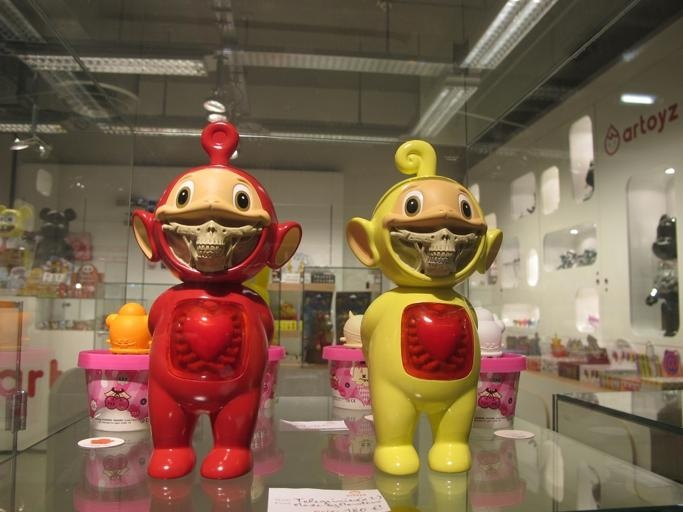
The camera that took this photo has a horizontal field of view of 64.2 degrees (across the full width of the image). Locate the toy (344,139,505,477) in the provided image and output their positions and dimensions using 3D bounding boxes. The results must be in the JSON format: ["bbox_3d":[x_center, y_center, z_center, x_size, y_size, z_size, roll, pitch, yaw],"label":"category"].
[{"bbox_3d":[0.263,0.137,1.757,0.505,1.037,0.269,0,0,12],"label":"toy"}]

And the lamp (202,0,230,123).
[{"bbox_3d":[-0.634,-0.952,2.783,0.135,0.517,0.346,1,0,-15],"label":"lamp"}]

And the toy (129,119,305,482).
[{"bbox_3d":[-0.385,0.108,1.688,0.530,1.065,0.274,1,-1,-15],"label":"toy"}]
